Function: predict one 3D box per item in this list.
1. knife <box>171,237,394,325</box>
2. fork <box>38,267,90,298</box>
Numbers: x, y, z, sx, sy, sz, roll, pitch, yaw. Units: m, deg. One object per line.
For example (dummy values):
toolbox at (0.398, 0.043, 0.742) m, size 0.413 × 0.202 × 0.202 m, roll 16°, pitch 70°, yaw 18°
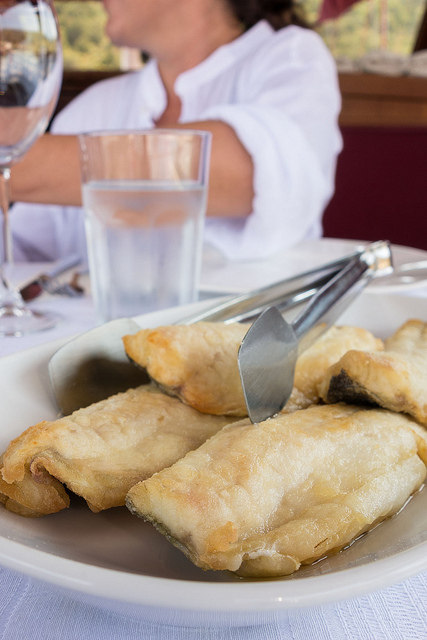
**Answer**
knife at (0.051, -0.031, 0.475) m, size 0.196 × 0.036 × 0.029 m, roll -21°, pitch 69°, yaw -8°
fork at (-0.155, -0.035, 0.617) m, size 0.045 × 0.014 × 0.043 m, roll -22°, pitch 31°, yaw -26°
